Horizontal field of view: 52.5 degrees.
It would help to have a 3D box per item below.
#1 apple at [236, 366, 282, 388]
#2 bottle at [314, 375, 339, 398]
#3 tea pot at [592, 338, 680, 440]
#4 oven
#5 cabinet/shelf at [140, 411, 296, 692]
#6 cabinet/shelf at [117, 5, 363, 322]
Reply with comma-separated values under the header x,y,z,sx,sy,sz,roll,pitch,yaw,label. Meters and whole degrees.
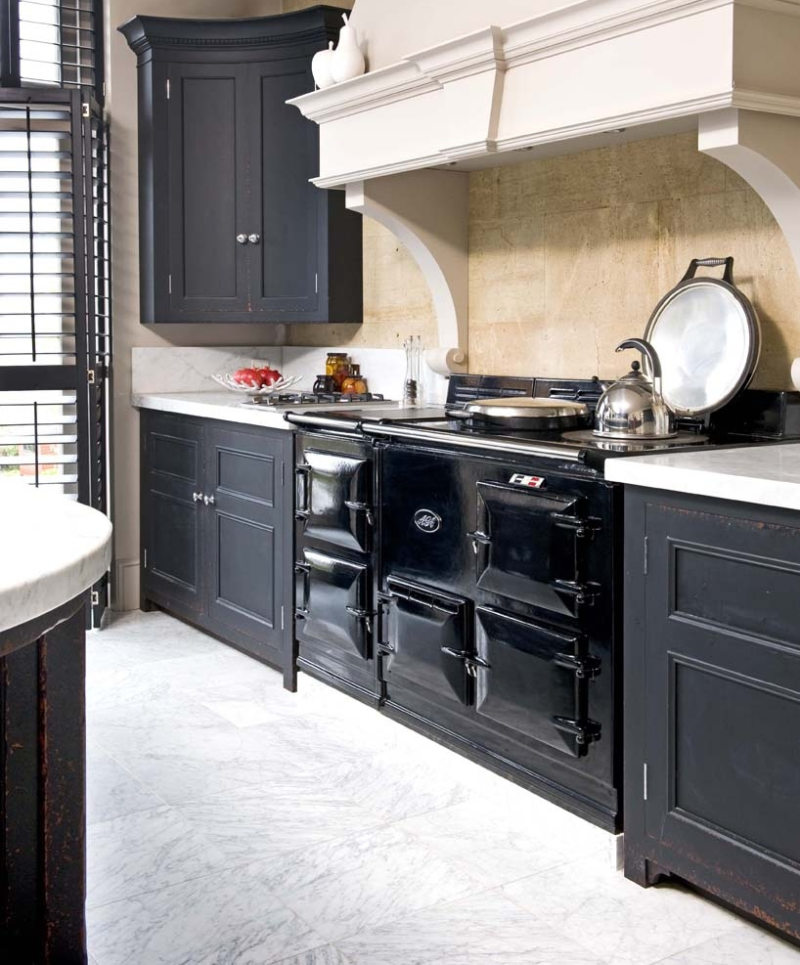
x,y,z,sx,sy,sz,roll,pitch,yaw,label
-0.601,-0.444,3.439,0.199,0.098,0.096,-1,3,-14,apple
-0.308,-0.409,3.350,0.118,0.109,0.116,1,5,-1,bottle
0.526,-0.215,1.814,0.149,0.233,0.153,0,3,0,tea pot
0.281,0.276,2.063,0.395,0.746,0.865,-5,6,-36,oven
-0.633,0.161,3.342,0.414,0.917,1.105,-8,14,-44,cabinet/shelf
-0.677,-1.312,3.398,1.021,1.268,0.372,1,3,19,cabinet/shelf
